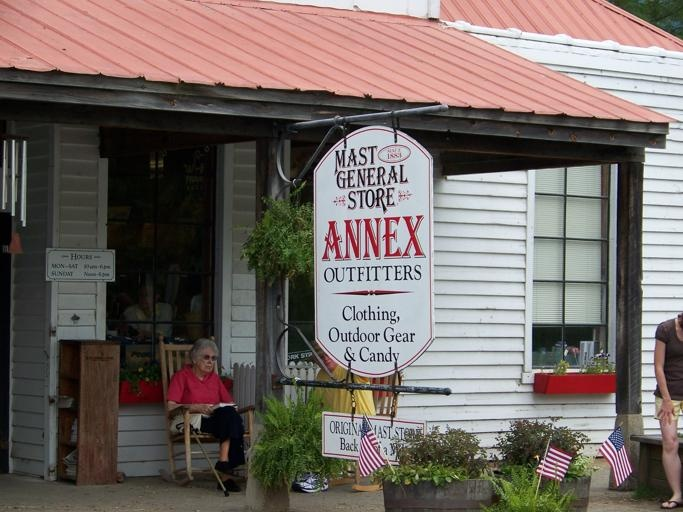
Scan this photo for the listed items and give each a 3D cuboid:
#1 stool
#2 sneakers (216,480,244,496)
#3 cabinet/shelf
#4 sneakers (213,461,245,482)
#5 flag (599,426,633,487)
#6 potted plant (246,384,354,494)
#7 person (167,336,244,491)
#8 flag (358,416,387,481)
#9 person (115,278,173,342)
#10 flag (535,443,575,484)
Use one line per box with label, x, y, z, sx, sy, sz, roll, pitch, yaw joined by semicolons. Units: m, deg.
stool;3.194;2.164;15.436;0.563;0.553;0.559;7;-9;-43
sneakers;-1.162;2.382;15.508;0.273;0.112;0.111;-7;-6;43
cabinet/shelf;-2.688;1.623;15.775;0.704;1.505;0.410;-1;-4;4
sneakers;-1.212;2.233;15.668;0.163;0.213;0.537;3;-11;-25
flag;2.468;1.793;13.481;0.263;0.519;0.537;-2;-4;16
potted plant;-0.553;1.745;14.144;0.791;1.115;1.111;-2;-12;41
person;-1.397;1.650;15.776;0.831;1.580;0.569;-3;-4;33
flag;0.269;1.635;13.034;0.254;0.491;0.161;-2;-4;15
person;-2.168;0.738;16.509;0.651;0.913;0.496;-3;7;-24
flag;1.891;1.828;13.228;0.271;0.269;0.032;30;-7;-8
